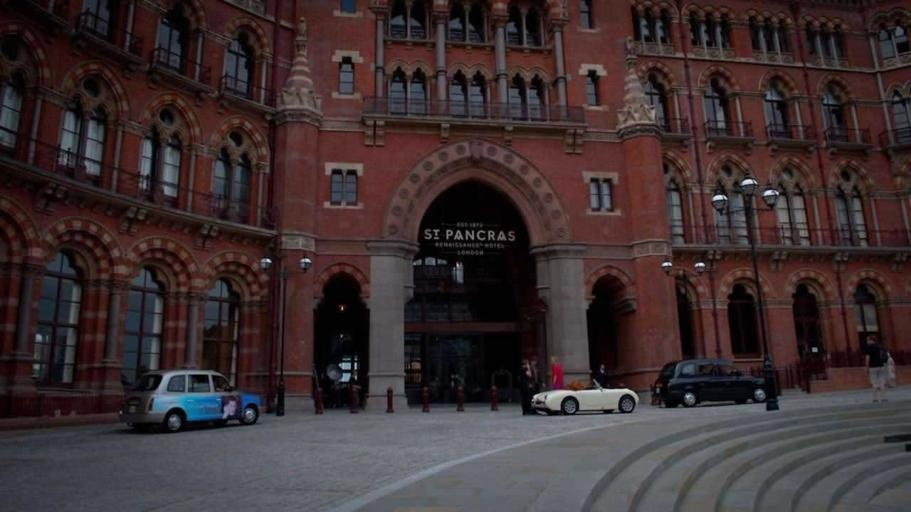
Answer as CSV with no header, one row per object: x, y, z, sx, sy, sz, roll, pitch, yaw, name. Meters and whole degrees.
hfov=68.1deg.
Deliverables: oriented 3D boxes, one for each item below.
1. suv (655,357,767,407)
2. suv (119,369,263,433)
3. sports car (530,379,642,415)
14.083,6.442,37.010,6.174,2.333,3.385,-1,5,-14,suv
-12.256,6.420,31.194,5.386,2.124,2.783,4,-9,-38,suv
6.332,7.001,32.992,4.849,1.348,0.807,-1,-13,0,sports car
